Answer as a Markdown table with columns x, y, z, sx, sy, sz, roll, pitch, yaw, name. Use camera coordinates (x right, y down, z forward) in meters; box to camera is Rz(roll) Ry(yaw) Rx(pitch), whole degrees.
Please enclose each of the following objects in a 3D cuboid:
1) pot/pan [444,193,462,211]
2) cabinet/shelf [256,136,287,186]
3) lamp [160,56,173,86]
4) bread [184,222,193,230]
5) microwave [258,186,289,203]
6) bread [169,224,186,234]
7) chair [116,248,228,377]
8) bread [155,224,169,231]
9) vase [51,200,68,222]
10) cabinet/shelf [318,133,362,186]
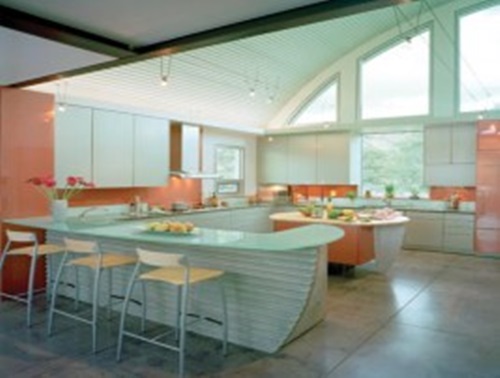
| x | y | z | sx | sy | sz | roll | pitch | yaw | name |
| --- | --- | --- | --- | --- | --- | --- | --- | --- | --- |
| 4.131 | 0.250 | 7.814 | 0.283 | 0.319 | 0.354 | 2 | 10 | 13 | pot/pan |
| 0.558 | -0.704 | 9.572 | 0.942 | 1.170 | 0.217 | 6 | 13 | 31 | cabinet/shelf |
| -1.347 | -1.894 | 6.255 | 0.190 | 0.410 | 0.519 | -3 | 9 | -11 | lamp |
| -0.659 | 0.400 | 4.258 | 0.123 | 0.080 | 0.101 | -3 | 4 | 0 | bread |
| 0.602 | 0.107 | 9.706 | 0.808 | 0.412 | 0.450 | 0 | 9 | 2 | microwave |
| -0.782 | 0.427 | 4.159 | 0.171 | 0.049 | 0.172 | 1 | -2 | -3 | bread |
| -0.883 | 1.109 | 3.980 | 1.287 | 1.132 | 0.912 | 6 | 12 | 31 | chair |
| -0.964 | 0.422 | 4.241 | 0.132 | 0.039 | 0.149 | 0 | -1 | -16 | bread |
| -2.506 | 0.282 | 5.088 | 0.197 | 0.271 | 0.099 | -4 | 12 | -19 | vase |
| 2.107 | -0.644 | 8.822 | 1.094 | 1.220 | 0.724 | 0 | 11 | 0 | cabinet/shelf |
